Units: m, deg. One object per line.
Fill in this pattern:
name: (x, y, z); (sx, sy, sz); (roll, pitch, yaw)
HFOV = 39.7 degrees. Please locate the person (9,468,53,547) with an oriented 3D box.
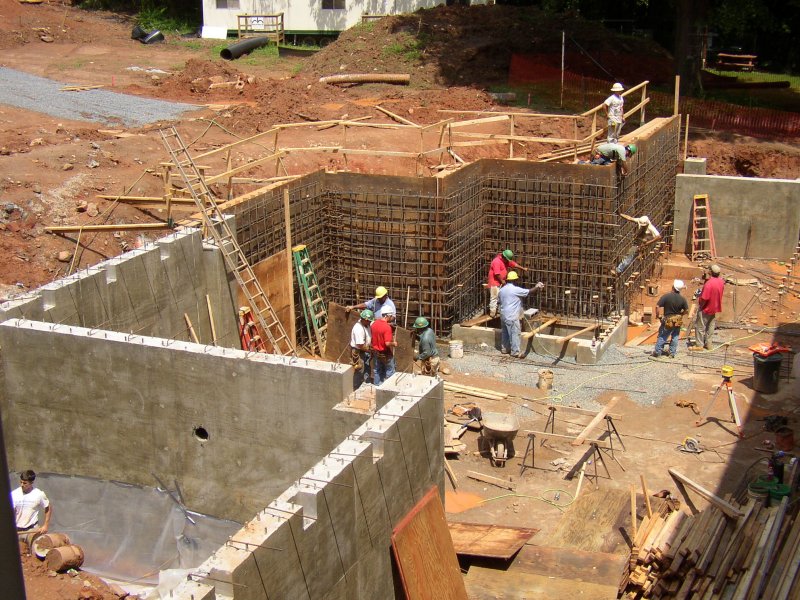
person: (-5.826, 3.258, 17.566); (0.570, 1.233, 1.695); (0, 10, -18)

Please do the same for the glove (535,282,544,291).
glove: (2.977, -0.310, 23.602); (0.116, 0.137, 0.302); (1, 1, 12)

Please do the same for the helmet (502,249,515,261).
helmet: (2.311, -0.967, 23.886); (0.227, 0.218, 0.443); (4, 10, 2)

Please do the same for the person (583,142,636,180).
person: (4.607, -3.105, 24.456); (1.081, 0.645, 0.846); (3, 53, 12)

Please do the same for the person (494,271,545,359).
person: (2.527, 0.344, 23.752); (1.085, 1.973, 0.861); (-24, 37, -26)

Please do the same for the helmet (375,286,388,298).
helmet: (-0.392, -0.137, 22.232); (0.176, 0.233, 0.338); (2, 10, -7)

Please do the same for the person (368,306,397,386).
person: (-0.361, 0.995, 21.011); (0.498, 1.223, 0.404); (4, 10, 1)

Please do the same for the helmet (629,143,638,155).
helmet: (5.185, -3.390, 24.883); (0.247, 0.232, 0.184); (-9, 13, -30)

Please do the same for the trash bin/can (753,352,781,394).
trash bin/can: (7.194, 1.412, 22.139); (0.715, 0.831, 0.676); (-2, 16, 6)

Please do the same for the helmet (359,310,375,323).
helmet: (-0.636, 0.293, 21.116); (0.194, 0.236, 0.469); (5, 10, 6)

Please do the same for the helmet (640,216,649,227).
helmet: (5.517, -1.773, 25.161); (0.187, 0.164, 0.276); (-7, -35, 22)

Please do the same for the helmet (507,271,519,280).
helmet: (2.352, -0.496, 23.463); (0.229, 0.229, 0.372); (4, 10, 1)

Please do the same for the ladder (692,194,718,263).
ladder: (8.121, -1.952, 29.631); (0.762, 1.728, 0.564); (6, 11, 13)

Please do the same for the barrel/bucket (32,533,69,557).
barrel/bucket: (-5.314, 3.705, 16.873); (0.350, 0.351, 0.385); (4, 0, 0)

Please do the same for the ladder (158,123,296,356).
ladder: (-3.467, -1.063, 22.357); (0.713, 6.366, 0.243); (-29, 1, -20)

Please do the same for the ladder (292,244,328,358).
ladder: (-1.960, -0.031, 23.819); (0.802, 2.347, 0.753); (2, 11, -6)

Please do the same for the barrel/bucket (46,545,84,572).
barrel/bucket: (-5.054, 3.894, 16.764); (0.372, 0.373, 0.408); (5, 4, 0)

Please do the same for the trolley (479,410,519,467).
trolley: (1.750, 2.442, 19.799); (0.658, 0.510, 1.317); (5, 22, 1)

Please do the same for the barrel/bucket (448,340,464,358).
barrel/bucket: (1.179, 1.046, 23.634); (0.343, 0.342, 0.325); (-1, 5, 0)

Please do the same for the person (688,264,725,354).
person: (6.580, 0.148, 23.794); (0.500, 1.801, 0.856); (6, 11, 15)
